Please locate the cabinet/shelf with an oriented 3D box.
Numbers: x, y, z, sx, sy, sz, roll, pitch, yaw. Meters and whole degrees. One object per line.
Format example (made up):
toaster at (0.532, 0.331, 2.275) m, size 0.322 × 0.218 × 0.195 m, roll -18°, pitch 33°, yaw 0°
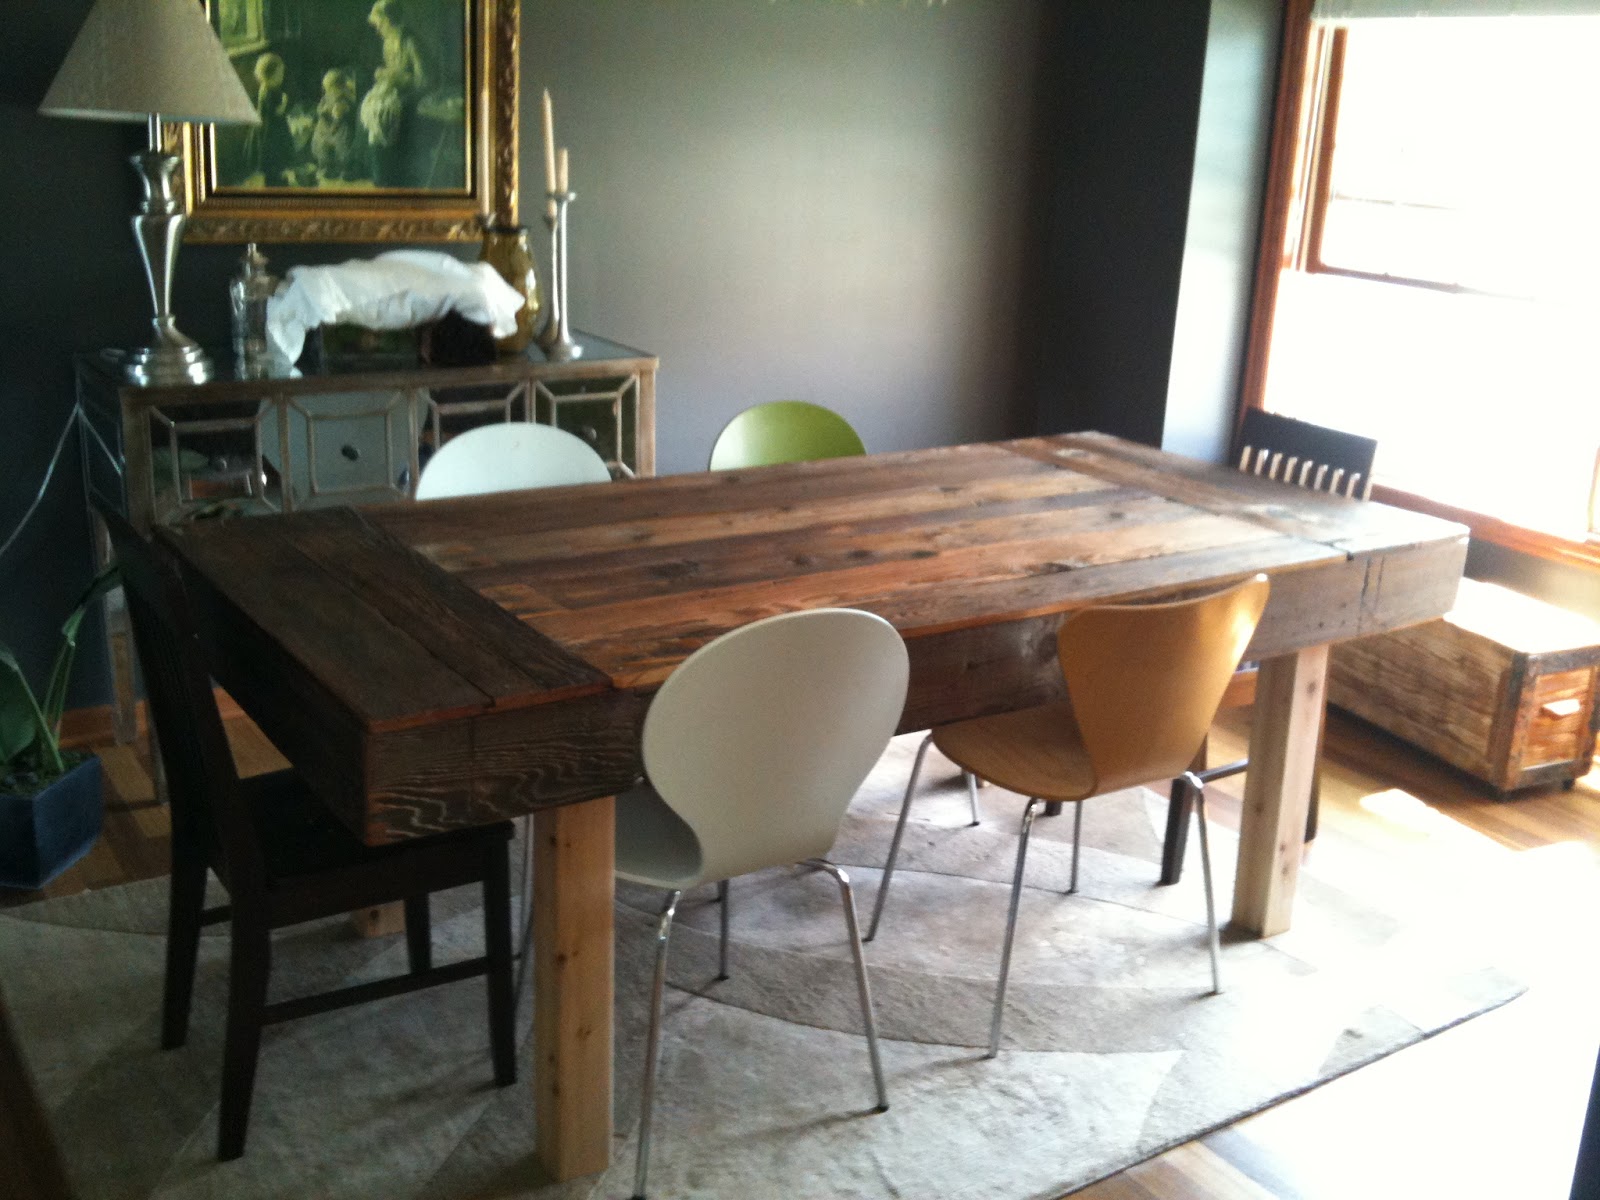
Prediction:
cabinet/shelf at (-0.893, -0.109, 2.544) m, size 1.073 × 0.901 × 0.401 m, roll -10°, pitch 19°, yaw -30°
